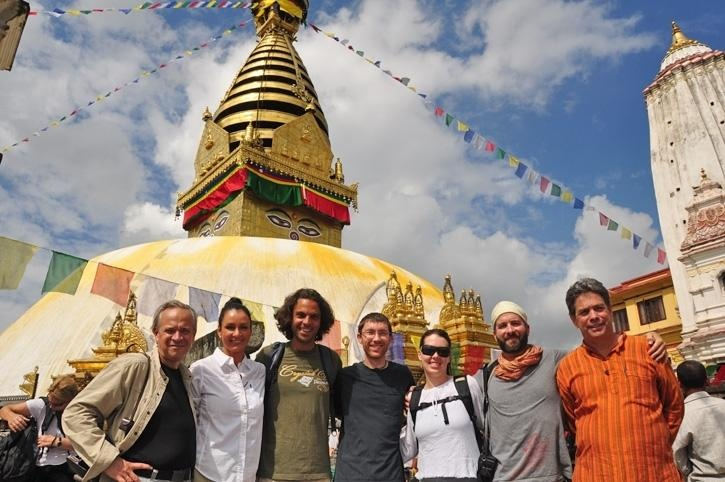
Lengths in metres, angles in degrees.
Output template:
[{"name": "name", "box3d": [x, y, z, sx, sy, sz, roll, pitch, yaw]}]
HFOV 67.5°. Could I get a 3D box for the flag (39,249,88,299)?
[{"name": "flag", "box3d": [-5.740, 0.610, 10.358, 0.961, 0.748, 0.078, 1, -21, 12]}]
